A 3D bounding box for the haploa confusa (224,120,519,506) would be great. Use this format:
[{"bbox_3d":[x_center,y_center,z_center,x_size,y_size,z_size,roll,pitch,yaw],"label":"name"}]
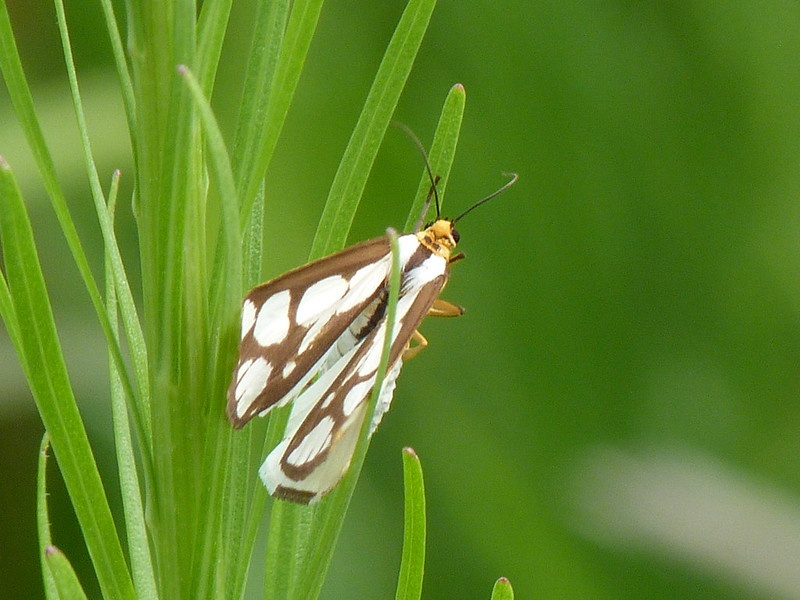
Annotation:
[{"bbox_3d":[-0.025,-0.041,1.376,0.598,0.272,0.220,-53,-28,-11],"label":"haploa confusa"}]
